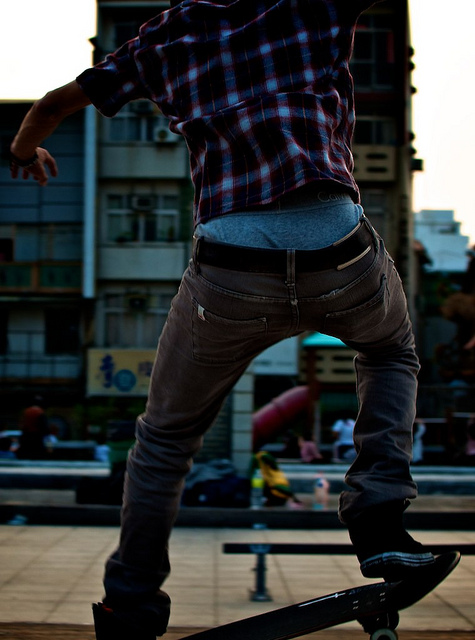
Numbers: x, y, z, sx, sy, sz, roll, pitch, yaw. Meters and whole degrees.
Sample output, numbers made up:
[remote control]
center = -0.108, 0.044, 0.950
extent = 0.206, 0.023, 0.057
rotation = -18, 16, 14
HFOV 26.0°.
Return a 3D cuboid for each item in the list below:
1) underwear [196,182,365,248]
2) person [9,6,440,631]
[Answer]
[underwear]
center = 0.110, -0.263, 2.454
extent = 0.397, 0.154, 0.295
rotation = -6, 10, -30
[person]
center = 0.003, 0.001, 2.517
extent = 1.006, 1.513, 0.344
rotation = 2, -3, 7
